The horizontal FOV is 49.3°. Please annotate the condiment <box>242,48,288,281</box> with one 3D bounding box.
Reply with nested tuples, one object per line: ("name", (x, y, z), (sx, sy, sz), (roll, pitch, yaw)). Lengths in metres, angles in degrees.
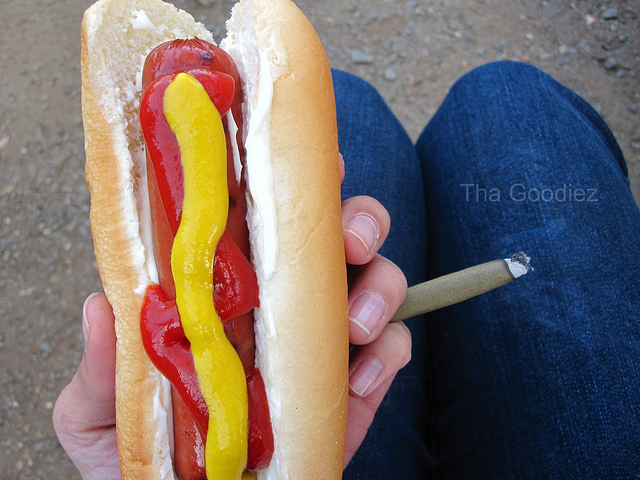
("condiment", (-0.159, -0.238, 2.292), (0.180, 0.162, 0.704), (-1, 84, 9))
